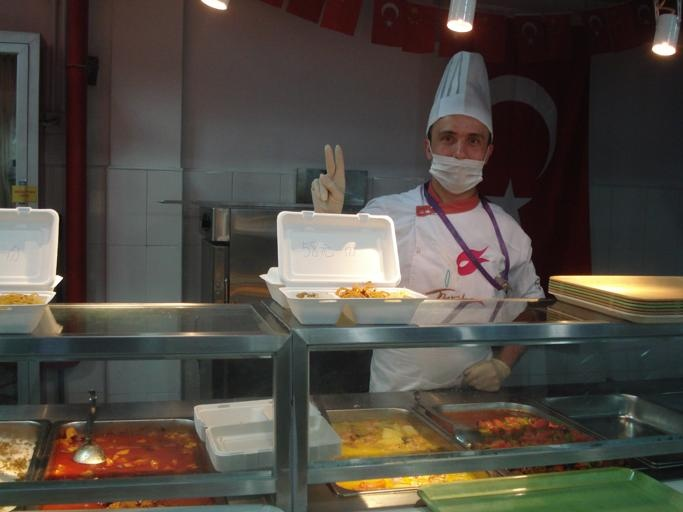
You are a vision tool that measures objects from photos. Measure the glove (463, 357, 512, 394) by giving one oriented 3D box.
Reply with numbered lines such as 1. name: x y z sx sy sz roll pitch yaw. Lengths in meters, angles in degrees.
1. glove: 0.417 0.338 1.672 0.147 0.087 0.085 2 8 -2

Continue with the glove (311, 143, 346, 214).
1. glove: -0.037 -0.231 2.059 0.117 0.307 0.101 4 24 -6

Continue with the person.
1. person: 0.444 -0.008 2.891 1.299 1.745 0.601 14 25 25

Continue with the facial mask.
1. facial mask: 0.517 -0.386 2.683 0.260 0.145 0.266 6 23 0

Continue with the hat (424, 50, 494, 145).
1. hat: 0.557 -0.754 2.667 0.275 0.394 0.426 3 22 0
